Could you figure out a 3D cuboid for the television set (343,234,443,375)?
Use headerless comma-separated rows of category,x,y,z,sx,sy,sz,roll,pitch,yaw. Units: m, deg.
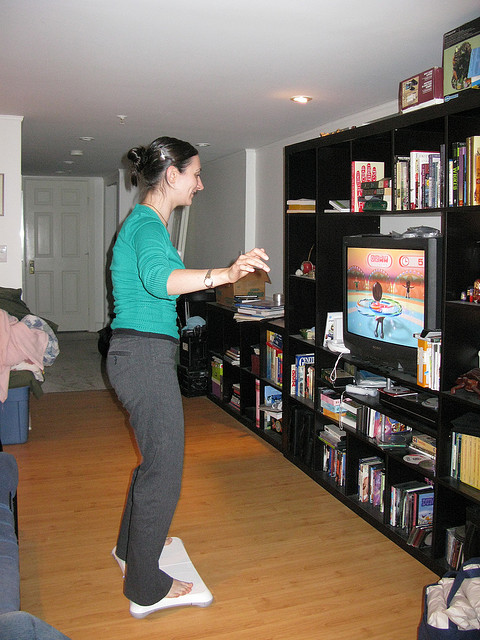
television set,0.793,-0.097,2.239,0.338,0.604,0.638,-8,12,-19

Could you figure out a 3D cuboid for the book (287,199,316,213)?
book,0.376,-0.685,2.886,0.197,0.088,0.051,6,9,37

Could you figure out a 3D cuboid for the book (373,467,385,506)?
book,0.676,0.818,2.331,0.026,0.199,0.062,-2,7,-18

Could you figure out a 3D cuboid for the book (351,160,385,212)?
book,0.634,-0.665,2.396,0.186,0.258,0.110,-6,9,-42

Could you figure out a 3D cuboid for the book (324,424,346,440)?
book,0.528,0.619,2.670,0.047,0.047,0.169,-2,7,-18

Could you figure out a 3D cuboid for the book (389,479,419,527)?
book,0.747,0.832,2.203,0.170,0.185,0.063,-6,9,-40

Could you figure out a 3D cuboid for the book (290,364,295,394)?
book,0.336,0.376,3.029,0.031,0.187,0.028,4,8,27

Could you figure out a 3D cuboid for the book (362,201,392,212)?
book,0.619,-0.508,2.143,0.028,0.053,0.172,-3,8,-24

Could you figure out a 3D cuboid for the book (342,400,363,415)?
book,0.577,0.445,2.459,0.051,0.048,0.131,-2,7,-16

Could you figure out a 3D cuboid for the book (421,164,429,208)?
book,0.737,-0.533,1.891,0.025,0.169,0.057,0,7,-2

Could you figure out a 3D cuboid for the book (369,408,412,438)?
book,0.708,0.477,2.271,0.147,0.035,0.156,2,4,0

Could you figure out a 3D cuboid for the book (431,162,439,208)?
book,0.749,-0.522,1.839,0.021,0.174,0.066,1,7,10

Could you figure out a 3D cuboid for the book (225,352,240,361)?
book,-0.053,0.305,3.964,0.062,0.015,0.063,33,4,40

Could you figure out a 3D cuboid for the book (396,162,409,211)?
book,0.679,-0.563,2.005,0.024,0.193,0.078,-2,7,-17

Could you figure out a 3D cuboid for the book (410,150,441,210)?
book,0.733,-0.551,1.882,0.046,0.311,0.244,6,11,32

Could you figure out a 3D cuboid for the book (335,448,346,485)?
book,0.538,0.785,2.583,0.026,0.216,0.098,-1,7,-13

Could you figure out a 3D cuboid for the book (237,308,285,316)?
book,0.131,-0.063,3.610,0.368,0.039,0.145,5,8,34

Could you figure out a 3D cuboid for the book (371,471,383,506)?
book,0.669,0.821,2.339,0.016,0.190,0.072,-2,7,-20

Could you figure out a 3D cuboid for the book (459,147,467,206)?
book,0.772,-0.502,1.668,0.011,0.195,0.027,-1,7,-13

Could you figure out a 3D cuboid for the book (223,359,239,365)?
book,-0.067,0.346,3.970,0.074,0.021,0.072,-3,9,-24

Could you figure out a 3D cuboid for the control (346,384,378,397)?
control,0.615,0.356,2.412,0.058,0.041,0.166,-6,10,-43

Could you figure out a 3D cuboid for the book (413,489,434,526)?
book,0.780,0.805,2.035,0.074,0.140,0.037,2,7,12
